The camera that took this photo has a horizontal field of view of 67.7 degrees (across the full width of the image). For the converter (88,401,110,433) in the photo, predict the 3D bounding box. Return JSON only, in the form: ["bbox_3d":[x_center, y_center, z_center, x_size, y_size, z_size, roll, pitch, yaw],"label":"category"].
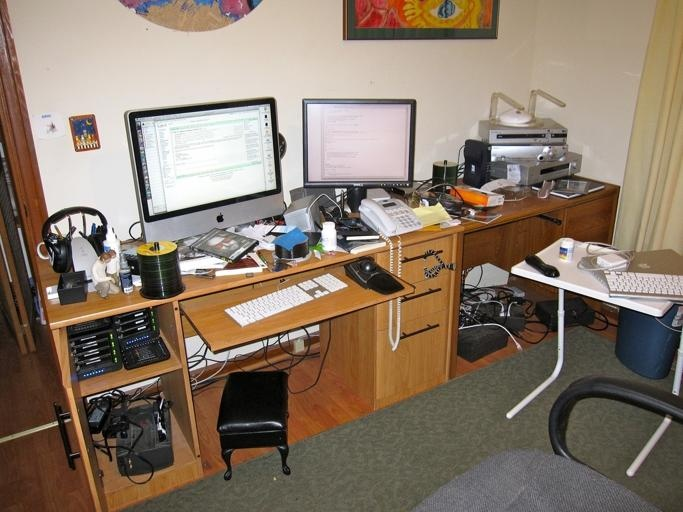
[{"bbox_3d":[-1.193,0.795,2.525,0.094,0.049,0.170,-11,9,-11],"label":"converter"}]

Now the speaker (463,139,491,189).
[{"bbox_3d":[0.840,-0.565,3.132,0.106,0.311,0.242,-14,29,-22],"label":"speaker"}]

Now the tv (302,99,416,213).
[{"bbox_3d":[0.085,-0.532,2.619,0.611,0.590,0.216,-4,25,-12],"label":"tv"}]

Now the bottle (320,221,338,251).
[{"bbox_3d":[-0.057,-0.087,2.385,0.057,0.134,0.060,-6,21,2],"label":"bottle"}]

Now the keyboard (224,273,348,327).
[{"bbox_3d":[-0.243,0.195,2.346,0.568,0.050,0.181,-17,23,-31],"label":"keyboard"}]

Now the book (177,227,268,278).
[{"bbox_3d":[-0.551,-0.023,2.314,0.348,0.137,0.304,-9,20,-11],"label":"book"}]

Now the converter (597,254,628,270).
[{"bbox_3d":[1.300,0.025,2.436,0.144,0.036,0.109,-13,21,-21],"label":"converter"}]

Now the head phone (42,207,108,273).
[{"bbox_3d":[-1.164,-0.065,2.213,0.134,0.285,0.258,16,22,42],"label":"head phone"}]

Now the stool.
[{"bbox_3d":[-0.414,0.794,2.495,0.329,0.405,0.391,-7,20,-1],"label":"stool"}]

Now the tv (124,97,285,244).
[{"bbox_3d":[-0.630,-0.394,2.339,0.672,0.541,0.115,-17,28,-27],"label":"tv"}]

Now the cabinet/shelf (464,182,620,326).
[{"bbox_3d":[1.223,0.037,3.444,1.147,0.792,0.600,-18,33,-28],"label":"cabinet/shelf"}]

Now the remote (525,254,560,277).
[{"bbox_3d":[0.951,0.038,2.434,0.064,0.039,0.150,-16,29,-18],"label":"remote"}]

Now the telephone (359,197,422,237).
[{"bbox_3d":[0.236,-0.207,2.559,0.204,0.097,0.255,-19,35,-28],"label":"telephone"}]
